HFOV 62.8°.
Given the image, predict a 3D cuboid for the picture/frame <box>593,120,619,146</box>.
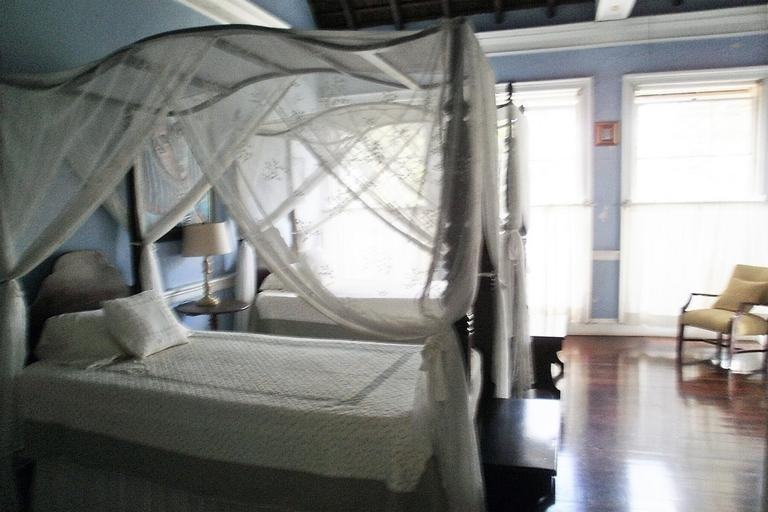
[{"bbox_3d":[2.596,-1.424,7.343,0.318,0.264,0.115,0,-9,12],"label":"picture/frame"}]
